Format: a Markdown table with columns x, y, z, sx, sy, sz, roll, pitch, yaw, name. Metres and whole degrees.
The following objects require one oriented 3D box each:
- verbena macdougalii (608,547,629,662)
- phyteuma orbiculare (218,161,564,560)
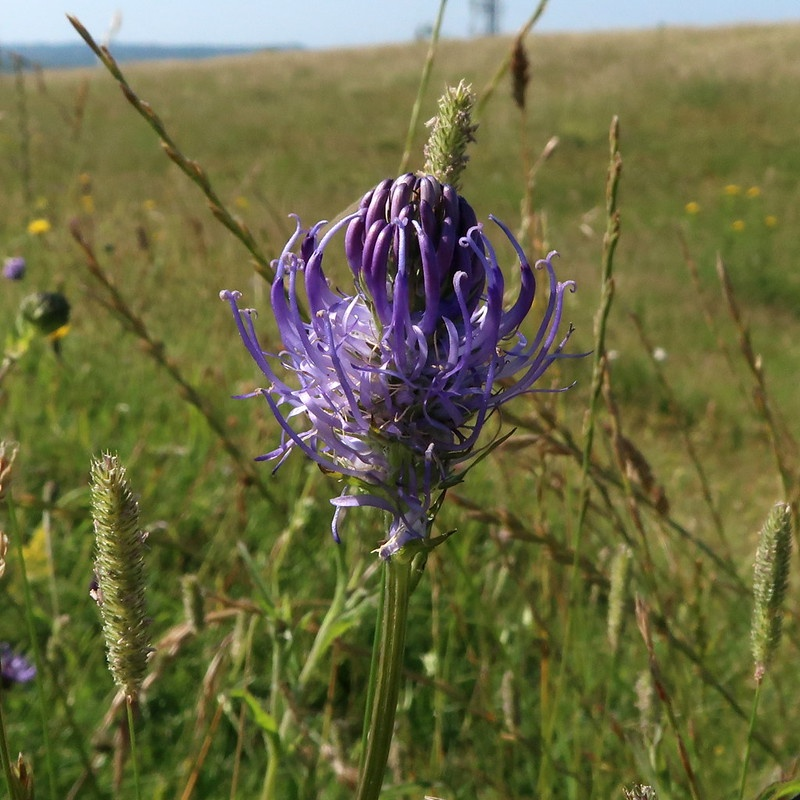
| x | y | z | sx | sy | sz | roll | pitch | yaw | name |
| --- | --- | --- | --- | --- | --- | --- | --- | --- | --- |
| 0.603 | 0.555 | 2.920 | 0.043 | 0.317 | 0.055 | 2 | -9 | 8 | verbena macdougalii |
| 0.033 | -0.107 | 2.758 | 0.550 | 0.931 | 0.604 | 1 | -6 | 40 | phyteuma orbiculare |
